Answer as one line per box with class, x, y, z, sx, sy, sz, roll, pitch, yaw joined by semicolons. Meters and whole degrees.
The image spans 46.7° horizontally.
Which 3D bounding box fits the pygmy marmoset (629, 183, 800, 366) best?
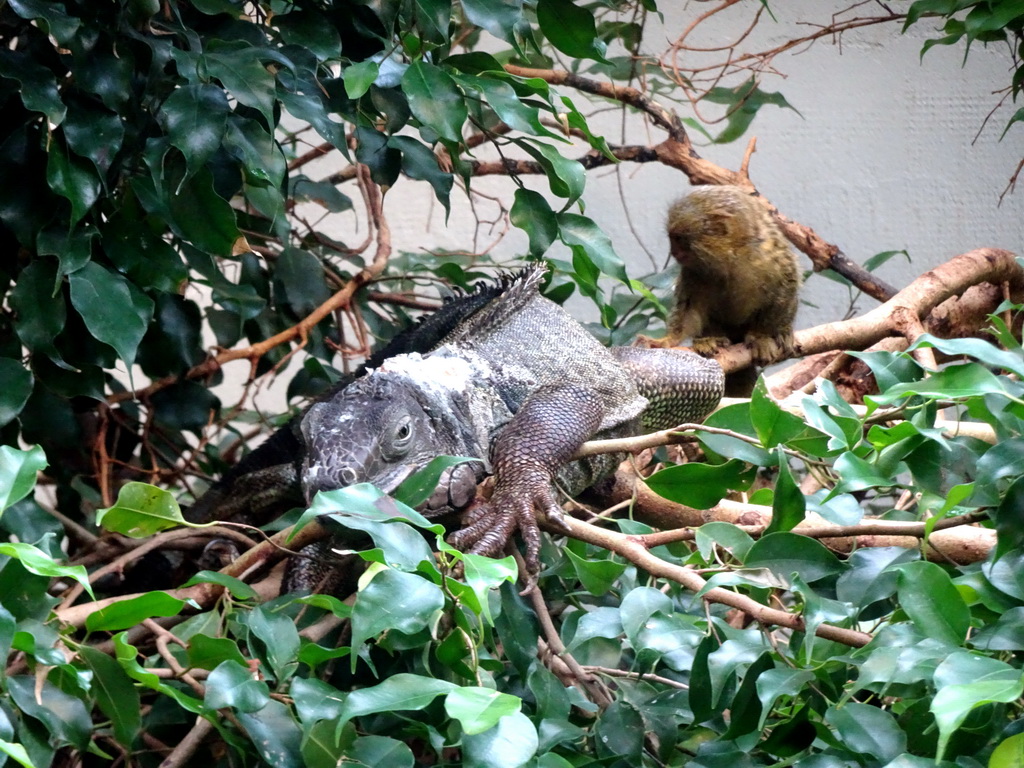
pygmy marmoset;0.466;-0.225;2.478;0.323;0.362;0.269;-7;12;-30
